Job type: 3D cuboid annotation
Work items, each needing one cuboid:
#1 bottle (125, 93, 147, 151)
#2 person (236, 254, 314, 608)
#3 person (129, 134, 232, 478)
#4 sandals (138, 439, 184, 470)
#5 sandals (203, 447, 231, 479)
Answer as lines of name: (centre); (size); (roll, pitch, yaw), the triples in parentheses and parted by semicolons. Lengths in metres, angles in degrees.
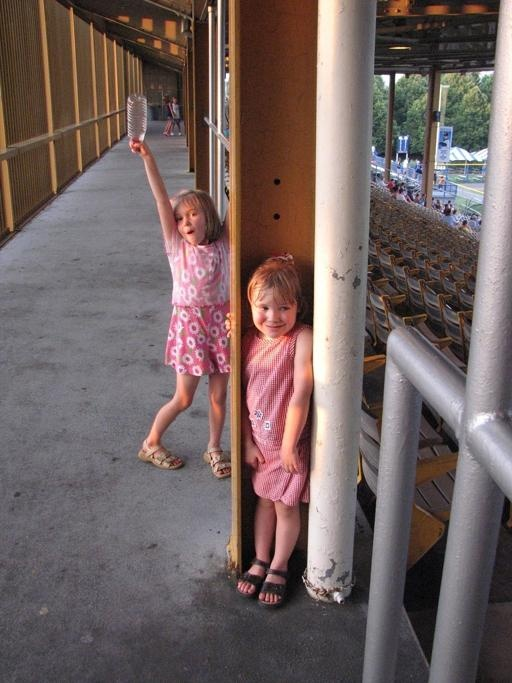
bottle: (-0.457, -0.849, 2.128); (0.079, 0.178, 0.258); (-5, 21, -11)
person: (0.069, 0.317, 1.967); (0.254, 1.174, 0.436); (2, 20, 6)
person: (-0.335, -0.095, 2.530); (0.440, 1.554, 0.265); (-5, 20, -13)
sandals: (-0.484, 0.584, 2.835); (0.220, 0.096, 0.105); (16, 24, 22)
sandals: (-0.178, 0.602, 2.733); (0.071, 0.070, 0.188); (-5, 18, -16)
